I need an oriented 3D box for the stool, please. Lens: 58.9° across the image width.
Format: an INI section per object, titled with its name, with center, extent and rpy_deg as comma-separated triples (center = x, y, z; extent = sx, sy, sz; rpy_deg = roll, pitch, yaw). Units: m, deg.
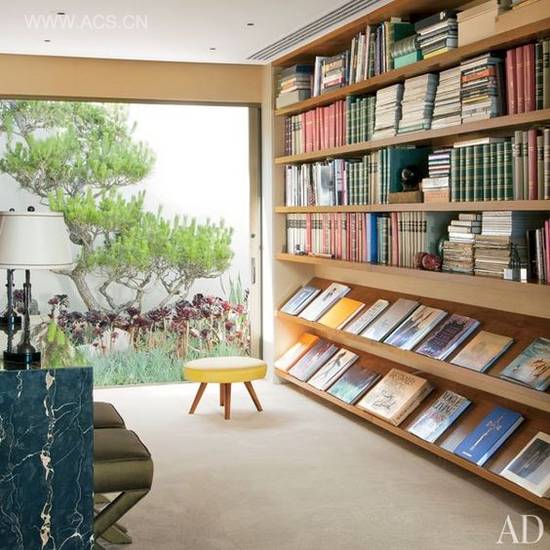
[stool]
center = -0.361, 0.842, 3.709
extent = 0.553, 0.289, 0.538
rpy_deg = -4, 6, -43
